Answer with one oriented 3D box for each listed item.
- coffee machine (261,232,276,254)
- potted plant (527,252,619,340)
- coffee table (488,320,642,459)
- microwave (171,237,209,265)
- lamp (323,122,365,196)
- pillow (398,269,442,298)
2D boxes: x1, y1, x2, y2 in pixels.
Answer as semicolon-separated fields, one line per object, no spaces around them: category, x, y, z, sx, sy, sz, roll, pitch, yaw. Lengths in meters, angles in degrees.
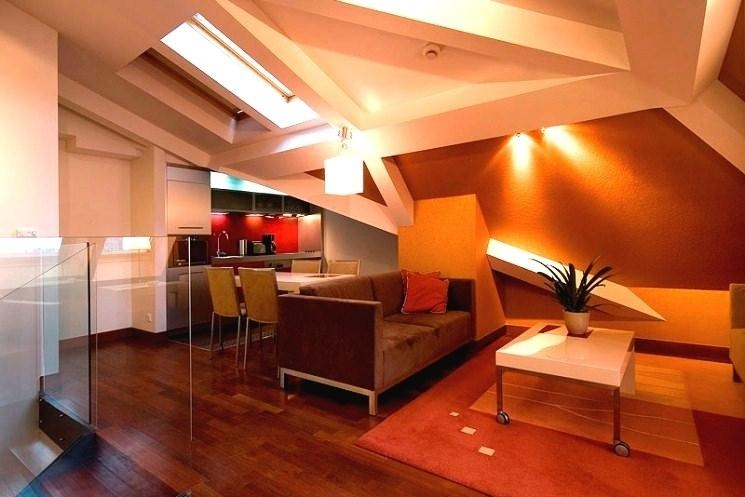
coffee machine;-1.724;-0.067;8.201;0.195;0.244;0.226;-5;2;-15
potted plant;2.013;0.467;4.855;0.851;0.766;0.923;0;-5;-1
coffee table;1.559;1.347;4.350;1.187;0.553;1.217;7;-15;18
microwave;-1.753;0.029;4.760;0.192;0.327;0.359;5;4;23
lamp;-0.301;-0.898;5.117;0.369;0.693;0.465;-4;2;5
pillow;0.495;0.436;5.865;0.342;0.339;0.103;4;-16;10
